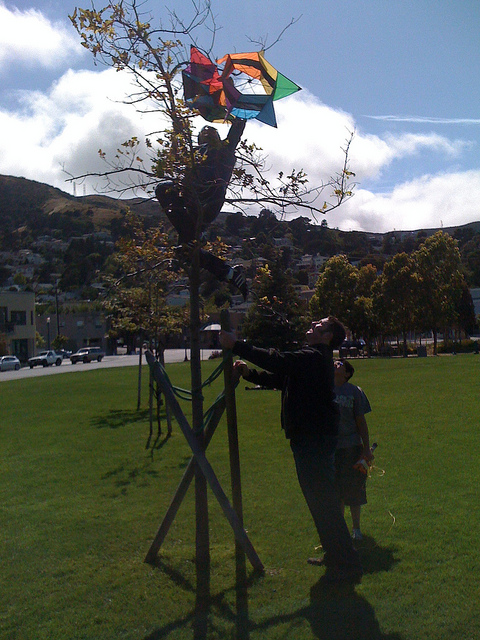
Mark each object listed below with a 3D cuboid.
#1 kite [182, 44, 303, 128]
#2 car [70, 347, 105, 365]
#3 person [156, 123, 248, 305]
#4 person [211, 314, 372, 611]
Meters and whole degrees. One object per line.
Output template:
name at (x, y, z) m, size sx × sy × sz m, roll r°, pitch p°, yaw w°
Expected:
kite at (-0.031, -2.028, 5.222) m, size 0.974 × 0.414 × 0.530 m, roll -1°, pitch 1°, yaw -14°
car at (-14.325, 3.272, 55.599) m, size 1.327 × 1.486 × 2.660 m, roll -7°, pitch -10°, yaw 24°
person at (-0.323, -0.944, 5.126) m, size 0.798 × 1.015 × 1.000 m, roll -1°, pitch 1°, yaw -6°
person at (0.568, 0.851, 4.413) m, size 0.662 × 1.940 × 0.966 m, roll -15°, pitch 11°, yaw -32°
